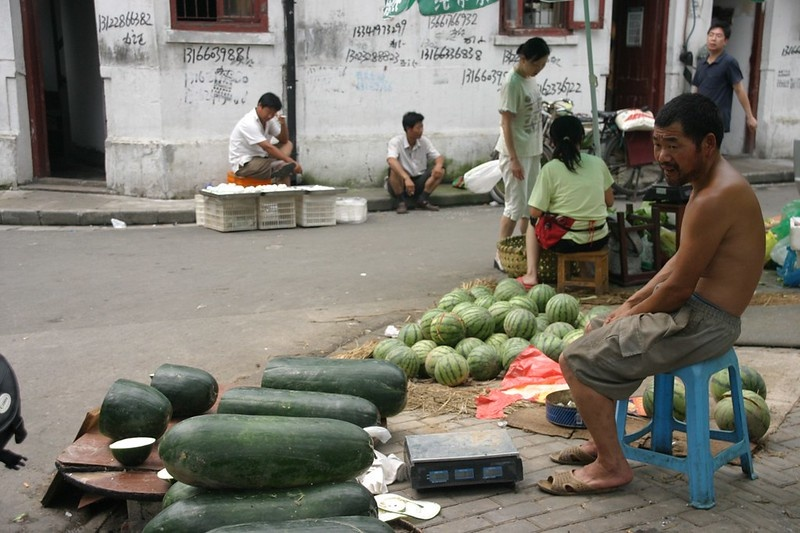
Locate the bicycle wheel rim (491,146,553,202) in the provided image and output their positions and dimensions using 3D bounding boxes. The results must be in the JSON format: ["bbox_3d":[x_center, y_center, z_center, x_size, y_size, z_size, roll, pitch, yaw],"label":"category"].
[{"bbox_3d":[2.085,-1.715,13.639,0.892,1.209,0.466,6,20,-2],"label":"bicycle wheel rim"}]

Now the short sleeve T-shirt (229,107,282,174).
[{"bbox_3d":[-2.348,-2.126,12.492,1.010,1.173,0.955,-11,12,-22],"label":"short sleeve T-shirt"}]

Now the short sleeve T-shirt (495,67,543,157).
[{"bbox_3d":[1.507,-1.891,8.993,0.485,1.026,0.863,13,22,38],"label":"short sleeve T-shirt"}]

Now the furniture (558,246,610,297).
[{"bbox_3d":[1.949,0.061,7.937,0.518,0.524,0.514,-5,5,-29],"label":"furniture"}]

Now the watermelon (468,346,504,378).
[{"bbox_3d":[0.732,0.810,6.202,0.279,0.222,0.217,-35,-2,15],"label":"watermelon"}]

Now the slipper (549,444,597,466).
[{"bbox_3d":[1.169,1.279,4.948,0.302,0.088,0.114,0,9,1],"label":"slipper"}]

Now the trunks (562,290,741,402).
[{"bbox_3d":[1.601,0.484,4.696,0.953,0.451,0.601,-21,16,15],"label":"trunks"}]

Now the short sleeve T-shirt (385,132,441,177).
[{"bbox_3d":[0.214,-2.015,13.303,1.258,0.954,0.664,-3,11,-18],"label":"short sleeve T-shirt"}]

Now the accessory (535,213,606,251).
[{"bbox_3d":[1.801,-0.396,7.888,0.670,0.346,0.533,-3,-3,14],"label":"accessory"}]

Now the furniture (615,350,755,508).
[{"bbox_3d":[1.923,0.997,5.067,0.909,1.023,0.911,-15,10,-43],"label":"furniture"}]

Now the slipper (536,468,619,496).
[{"bbox_3d":[1.153,1.392,4.697,0.472,0.121,0.190,1,0,-4],"label":"slipper"}]

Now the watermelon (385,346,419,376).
[{"bbox_3d":[0.042,0.785,6.148,0.243,0.294,0.230,0,-7,-37],"label":"watermelon"}]

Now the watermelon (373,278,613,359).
[{"bbox_3d":[0.826,0.461,6.646,1.216,0.396,0.930,-14,6,-3],"label":"watermelon"}]

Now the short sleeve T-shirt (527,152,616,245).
[{"bbox_3d":[1.851,-0.794,8.015,1.039,1.063,0.851,-8,15,-5],"label":"short sleeve T-shirt"}]

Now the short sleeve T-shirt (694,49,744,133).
[{"bbox_3d":[4.410,-2.486,10.345,0.347,1.075,0.773,-6,12,-31],"label":"short sleeve T-shirt"}]

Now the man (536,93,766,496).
[{"bbox_3d":[1.651,0.172,4.657,1.331,2.478,0.391,-4,10,-6],"label":"man"}]

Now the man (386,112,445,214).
[{"bbox_3d":[0.253,-1.877,13.170,1.025,1.755,0.691,-4,11,-9],"label":"man"}]

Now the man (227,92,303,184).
[{"bbox_3d":[-2.233,-2.034,12.465,1.134,1.744,1.430,-10,22,-29],"label":"man"}]

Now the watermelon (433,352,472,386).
[{"bbox_3d":[0.419,0.841,6.053,0.248,0.260,0.258,-14,-3,-12],"label":"watermelon"}]
